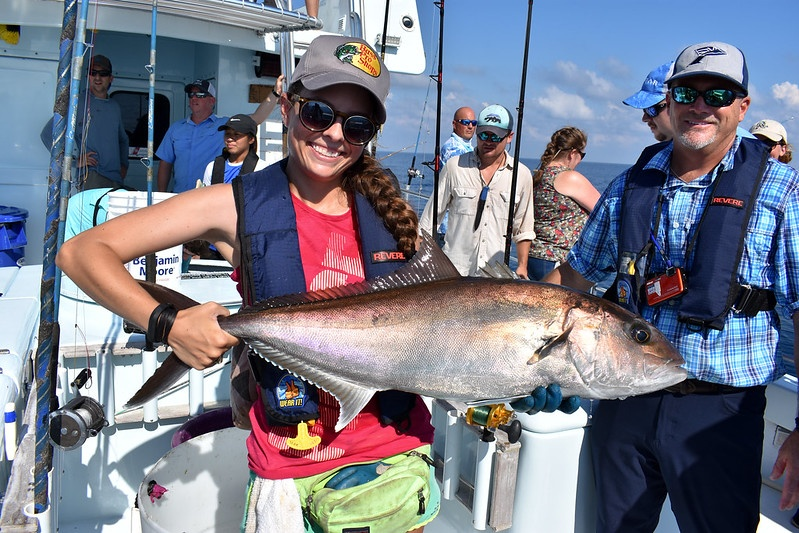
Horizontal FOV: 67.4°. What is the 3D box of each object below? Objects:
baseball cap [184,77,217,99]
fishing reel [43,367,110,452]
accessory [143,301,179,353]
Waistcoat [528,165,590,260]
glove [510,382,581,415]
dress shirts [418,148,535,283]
[{"bbox_3d":[-2.118,-1.898,6.502,0.236,0.209,0.350,16,12,33],"label":"baseball cap"},{"bbox_3d":[-1.612,0.723,3.001,0.243,0.343,0.311,0,3,-8],"label":"fishing reel"},{"bbox_3d":[-0.981,0.247,2.454,0.086,0.183,0.150,6,-13,13],"label":"accessory"},{"bbox_3d":[1.496,-0.478,5.584,0.464,0.867,0.628,8,15,-19],"label":"Waistcoat"},{"bbox_3d":[0.594,0.556,2.472,0.323,0.139,0.122,4,-26,-10],"label":"glove"},{"bbox_3d":[0.743,-0.450,5.332,1.084,1.202,0.493,8,10,14],"label":"dress shirts"}]
